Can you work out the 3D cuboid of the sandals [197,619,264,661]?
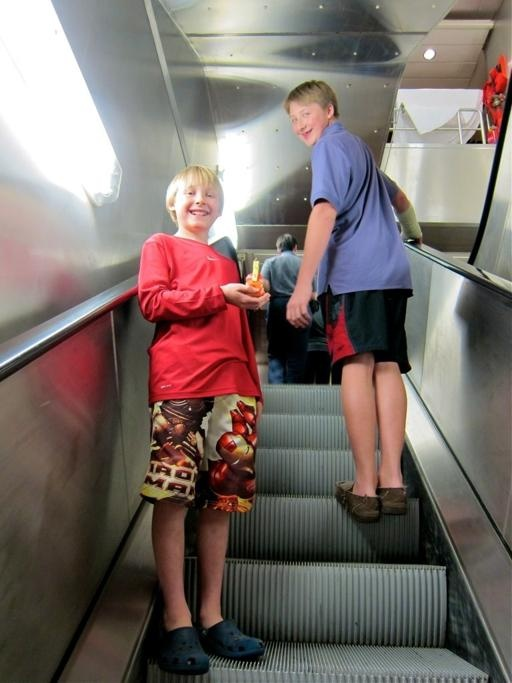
[{"bbox_3d":[-0.063,0.722,1.116,0.065,0.074,0.168,21,-27,-38],"label":"sandals"}]

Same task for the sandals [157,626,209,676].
[{"bbox_3d":[-0.164,0.688,1.024,0.068,0.067,0.149,9,-21,-15],"label":"sandals"}]
